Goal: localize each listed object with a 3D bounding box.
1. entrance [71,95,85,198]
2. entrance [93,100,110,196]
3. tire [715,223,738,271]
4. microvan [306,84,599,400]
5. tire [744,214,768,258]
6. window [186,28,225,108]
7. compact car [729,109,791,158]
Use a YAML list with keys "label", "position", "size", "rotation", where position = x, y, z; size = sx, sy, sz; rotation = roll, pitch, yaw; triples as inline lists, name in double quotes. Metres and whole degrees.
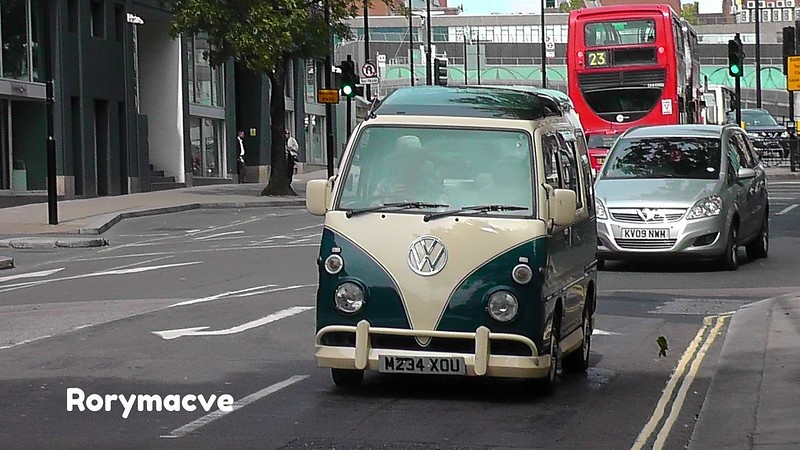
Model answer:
- label: "entrance"
  position: [-14.028, -3.380, 34.627]
  size: [0.568, 4.232, 0.463]
  rotation: [-6, 7, -20]
- label: "entrance"
  position: [-13.677, -3.493, 36.590]
  size: [0.717, 4.284, 0.469]
  rotation: [-1, 7, 15]
- label: "tire"
  position: [6.835, 0.490, 16.617]
  size: [0.342, 0.979, 0.760]
  rotation: [0, 7, 27]
- label: "microvan"
  position: [0.650, 0.209, 9.039]
  size: [3.369, 3.540, 1.786]
  rotation: [-4, 7, -8]
- label: "tire"
  position: [8.004, 0.255, 17.906]
  size: [0.390, 0.993, 1.035]
  rotation: [-6, -3, 30]
- label: "window"
  position: [-10.376, -8.190, 41.924]
  size: [0.450, 4.452, 4.628]
  rotation: [0, 3, 21]
- label: "compact car"
  position: [23.307, -5.788, 50.571]
  size: [3.248, 2.818, 5.668]
  rotation: [-1, 0, 4]
